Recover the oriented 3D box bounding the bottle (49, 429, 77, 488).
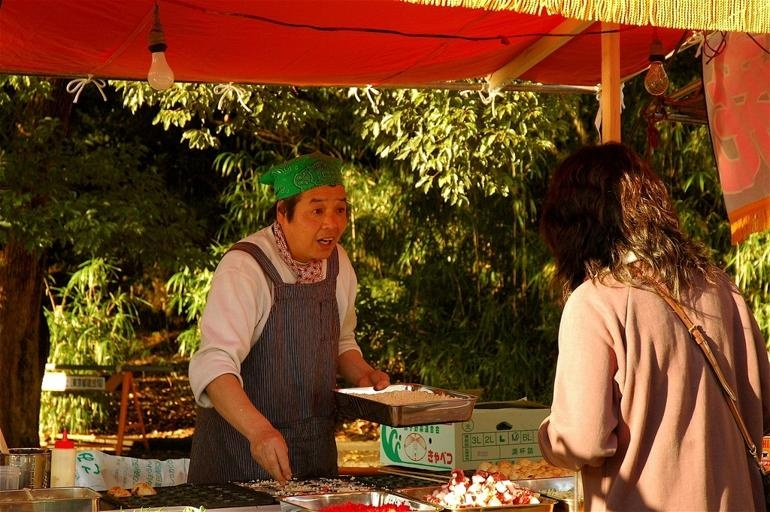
[{"bbox_3d":[-1.407,0.901,3.785,0.096,0.212,0.190,-1,-7,-7],"label":"bottle"}]

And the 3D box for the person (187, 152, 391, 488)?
[{"bbox_3d":[-0.522,0.304,4.163,0.770,1.530,1.042,-6,-8,28],"label":"person"}]
